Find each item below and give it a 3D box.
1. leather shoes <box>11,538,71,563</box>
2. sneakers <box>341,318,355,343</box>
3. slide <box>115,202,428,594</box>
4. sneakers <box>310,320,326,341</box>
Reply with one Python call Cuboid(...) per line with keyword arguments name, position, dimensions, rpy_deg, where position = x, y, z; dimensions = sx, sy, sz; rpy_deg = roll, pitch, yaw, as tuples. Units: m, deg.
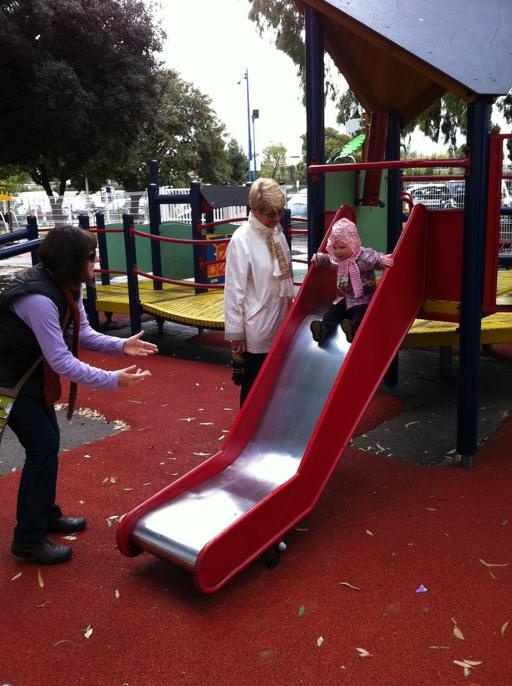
Cuboid(name="leather shoes", position=(-1.003, 0.992, 2.526), dimensions=(0.263, 0.113, 0.123), rpy_deg=(2, 13, -11))
Cuboid(name="sneakers", position=(0.584, -0.076, 3.339), dimensions=(0.060, 0.162, 0.064), rpy_deg=(1, 31, 27))
Cuboid(name="slide", position=(0.139, 0.181, 2.860), dimensions=(1.963, 1.352, 0.621), rpy_deg=(-25, 24, -37))
Cuboid(name="sneakers", position=(0.404, -0.087, 3.408), dimensions=(0.065, 0.149, 0.065), rpy_deg=(9, 22, 23))
